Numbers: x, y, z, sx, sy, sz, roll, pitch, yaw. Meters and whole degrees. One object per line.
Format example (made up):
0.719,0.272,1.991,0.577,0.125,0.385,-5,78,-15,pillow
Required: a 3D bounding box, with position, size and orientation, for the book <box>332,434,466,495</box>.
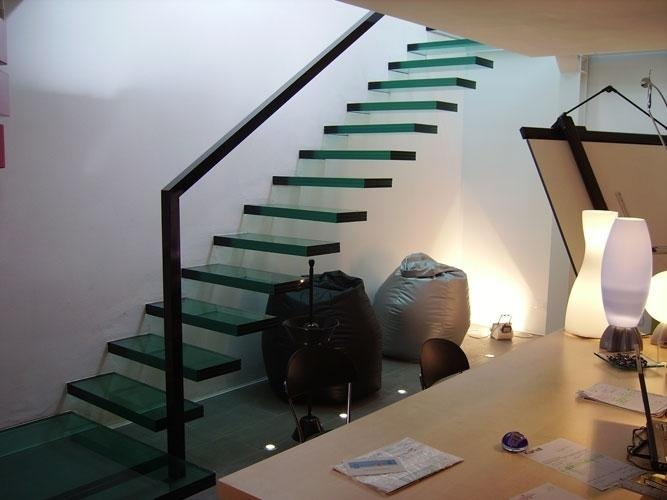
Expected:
0.203,0.665,1.531,0.363,0.034,0.203,-7,8,-35,book
